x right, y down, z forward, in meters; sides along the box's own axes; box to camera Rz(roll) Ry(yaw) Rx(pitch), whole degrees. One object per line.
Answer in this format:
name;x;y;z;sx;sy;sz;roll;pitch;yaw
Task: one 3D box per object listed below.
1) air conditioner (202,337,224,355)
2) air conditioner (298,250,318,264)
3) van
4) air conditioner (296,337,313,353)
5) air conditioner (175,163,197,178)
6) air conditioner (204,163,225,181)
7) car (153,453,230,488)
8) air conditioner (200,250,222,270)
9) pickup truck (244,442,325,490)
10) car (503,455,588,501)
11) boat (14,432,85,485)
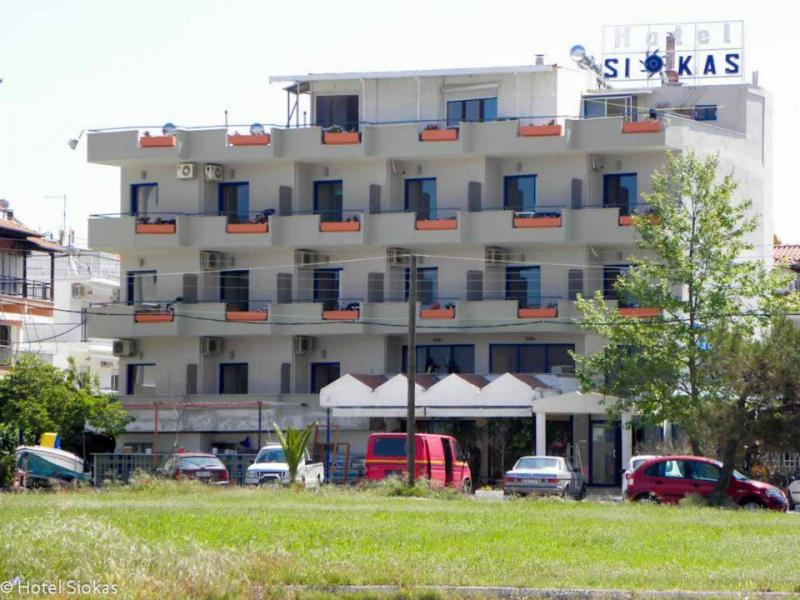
air conditioner;-8.971;2.129;105.150;0.670;1.219;1.285;-3;-3;31
air conditioner;-4.381;-2.084;104.286;0.659;0.594;1.014;0;1;38
van;0.611;6.165;86.765;2.355;1.988;3.396;-1;-2;32
air conditioner;-4.498;2.033;103.950;0.428;0.820;1.230;-3;-9;25
air conditioner;-10.057;-6.230;104.837;0.628;0.612;0.216;-2;-8;22
air conditioner;-8.783;-6.180;105.159;0.628;1.095;1.214;1;2;22
car;-8.031;6.521;86.521;3.179;1.440;3.384;-6;-11;38
air conditioner;-9.012;-1.962;105.320;0.672;0.962;1.287;-1;-3;38
pickup truck;-4.675;6.515;87.442;2.816;1.852;4.439;-2;-9;21
car;5.388;6.907;85.231;2.462;1.871;2.696;-6;-9;21
boat;-13.713;6.567;87.333;2.704;1.691;1.882;3;-9;-13
